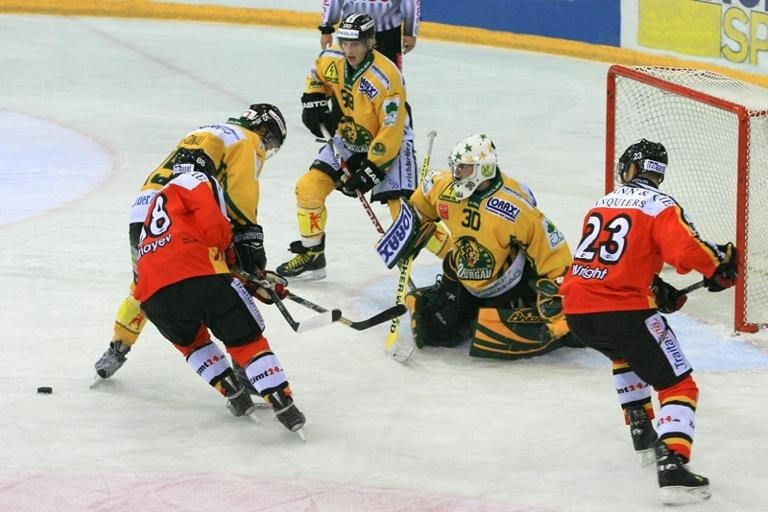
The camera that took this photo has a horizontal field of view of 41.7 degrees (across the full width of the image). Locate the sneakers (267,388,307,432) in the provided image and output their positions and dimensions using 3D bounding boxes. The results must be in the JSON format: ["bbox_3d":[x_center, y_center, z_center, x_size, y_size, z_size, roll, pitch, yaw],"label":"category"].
[{"bbox_3d":[-0.561,0.889,5.757,0.137,0.337,0.154,-31,21,6],"label":"sneakers"}]

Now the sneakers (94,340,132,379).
[{"bbox_3d":[-1.707,0.657,6.387,0.185,0.270,0.108,40,-10,-6],"label":"sneakers"}]

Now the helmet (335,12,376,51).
[{"bbox_3d":[-0.197,-1.646,7.298,0.263,0.217,0.305,11,32,18],"label":"helmet"}]

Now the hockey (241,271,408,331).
[{"bbox_3d":[-0.386,0.289,6.256,0.425,0.098,1.003,9,1,-31],"label":"hockey"}]

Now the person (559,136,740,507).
[{"bbox_3d":[1.462,0.315,5.406,0.646,1.689,1.182,-10,26,-30],"label":"person"}]

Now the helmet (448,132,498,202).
[{"bbox_3d":[0.569,-0.561,6.463,0.310,0.429,0.189,6,23,4],"label":"helmet"}]

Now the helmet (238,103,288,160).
[{"bbox_3d":[-0.844,-0.857,6.720,0.342,0.292,0.283,11,5,-39],"label":"helmet"}]

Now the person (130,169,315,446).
[{"bbox_3d":[-0.922,0.269,5.890,1.053,1.432,0.508,11,24,16],"label":"person"}]

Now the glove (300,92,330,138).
[{"bbox_3d":[-0.512,-1.116,7.888,0.289,0.310,0.132,-2,16,13],"label":"glove"}]

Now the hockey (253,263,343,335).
[{"bbox_3d":[-0.629,0.226,6.463,0.206,0.380,1.269,-2,21,-18],"label":"hockey"}]

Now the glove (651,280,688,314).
[{"bbox_3d":[1.592,0.247,5.629,0.171,0.122,0.232,29,0,43],"label":"glove"}]

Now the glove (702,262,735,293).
[{"bbox_3d":[1.799,0.117,5.373,0.159,0.214,0.139,11,23,16],"label":"glove"}]

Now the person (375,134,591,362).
[{"bbox_3d":[0.727,-0.034,6.762,0.883,1.418,1.793,-11,16,-35],"label":"person"}]
